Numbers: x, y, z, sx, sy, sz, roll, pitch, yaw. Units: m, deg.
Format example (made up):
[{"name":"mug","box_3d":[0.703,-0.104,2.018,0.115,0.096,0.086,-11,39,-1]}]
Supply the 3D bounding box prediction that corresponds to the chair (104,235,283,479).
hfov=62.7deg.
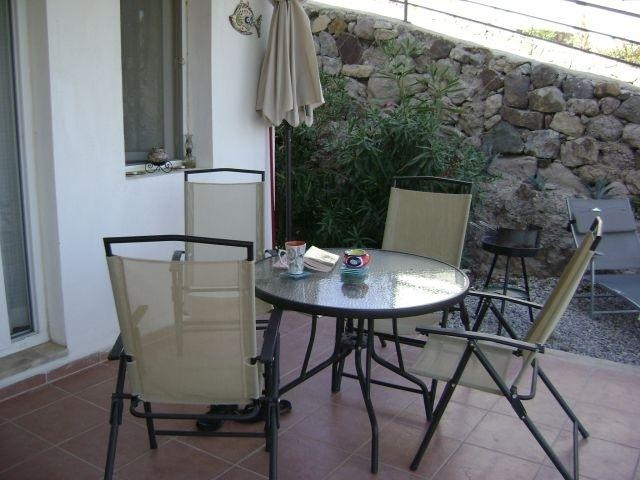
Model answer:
[{"name":"chair","box_3d":[-0.578,0.581,2.466,0.773,1.261,0.348,2,13,-3]}]

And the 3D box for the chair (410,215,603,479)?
[{"name":"chair","box_3d":[1.050,0.527,2.826,1.163,1.340,0.838,-7,16,-39]}]

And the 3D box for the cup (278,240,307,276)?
[{"name":"cup","box_3d":[-0.141,0.095,2.916,0.119,0.173,0.178,-1,5,-12]}]

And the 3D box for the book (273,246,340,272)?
[{"name":"book","box_3d":[-0.005,0.117,3.095,0.219,0.065,0.205,14,15,36]}]

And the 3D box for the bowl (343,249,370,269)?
[{"name":"bowl","box_3d":[0.212,0.098,3.011,0.115,0.064,0.115,-2,12,0]}]

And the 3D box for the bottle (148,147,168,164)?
[{"name":"bottle","box_3d":[-1.258,-0.658,4.074,0.135,0.109,0.135,-1,15,-15]}]
